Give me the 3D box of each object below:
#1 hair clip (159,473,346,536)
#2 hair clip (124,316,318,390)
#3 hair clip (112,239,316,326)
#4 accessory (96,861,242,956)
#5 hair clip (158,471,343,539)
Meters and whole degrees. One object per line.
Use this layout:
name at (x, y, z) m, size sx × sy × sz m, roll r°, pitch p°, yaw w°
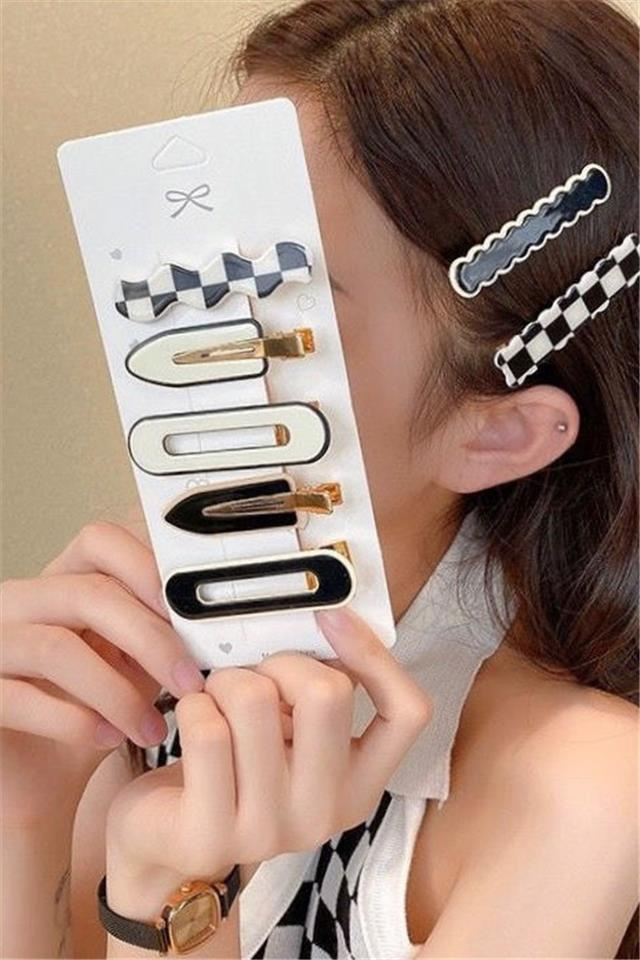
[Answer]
hair clip at (-0.030, 0.013, 0.418) m, size 0.100 × 0.024 × 0.026 m, roll -5°, pitch 95°, yaw 5°
hair clip at (-0.050, -0.055, 0.403) m, size 0.096 × 0.021 × 0.028 m, roll -5°, pitch 93°, yaw 8°
hair clip at (-0.048, -0.086, 0.398) m, size 0.086 × 0.034 × 0.019 m, roll -6°, pitch 80°, yaw -6°
accessory at (-0.077, 0.225, 0.466) m, size 0.074 × 0.034 × 0.044 m, roll -6°, pitch 80°, yaw -6°
hair clip at (-0.032, 0.013, 0.418) m, size 0.102 × 0.026 × 0.026 m, roll -5°, pitch 95°, yaw 5°
